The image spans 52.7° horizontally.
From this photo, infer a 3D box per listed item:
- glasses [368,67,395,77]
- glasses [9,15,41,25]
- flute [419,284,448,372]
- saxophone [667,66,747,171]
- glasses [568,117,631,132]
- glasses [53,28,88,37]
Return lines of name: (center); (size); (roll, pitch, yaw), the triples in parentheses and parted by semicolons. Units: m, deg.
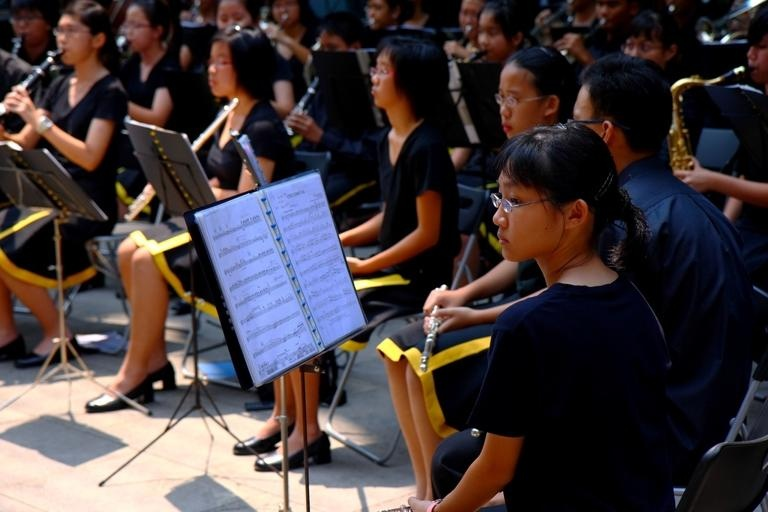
glasses: (-0.007, -0.937, 3.982); (0.079, 0.021, 0.072); (0, 4, -34)
glasses: (-2.865, -1.885, 6.182); (0.158, 0.041, 0.144); (1, 7, 11)
flute: (0.197, 0.343, 3.364); (0.056, 0.346, 0.083); (-6, -41, 39)
saxophone: (1.799, -0.703, 4.464); (0.596, 0.658, 0.131); (-11, 19, 1)
glasses: (0.837, -0.502, 2.972); (0.177, 0.047, 0.163); (2, 8, 7)
glasses: (-2.017, -1.437, 4.970); (0.107, 0.028, 0.104); (2, 5, 19)
